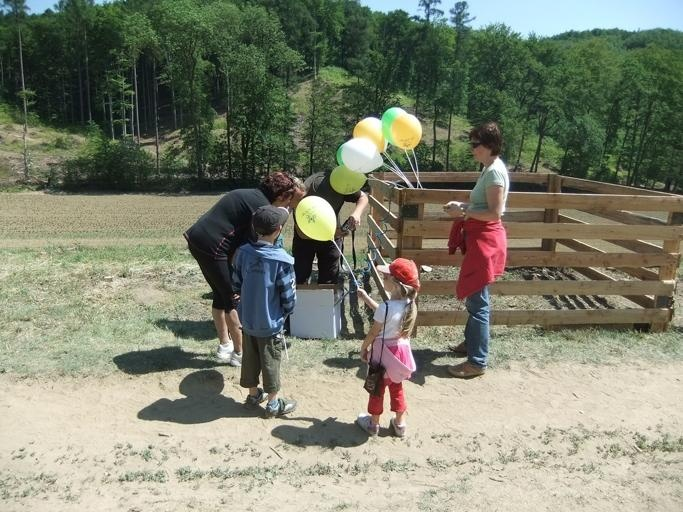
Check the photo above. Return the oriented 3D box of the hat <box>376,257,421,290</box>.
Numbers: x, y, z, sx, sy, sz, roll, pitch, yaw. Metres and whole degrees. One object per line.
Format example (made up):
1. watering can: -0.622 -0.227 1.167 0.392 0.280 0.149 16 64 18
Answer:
1. hat: 0.744 0.173 7.398 0.539 0.233 0.340 17 16 6

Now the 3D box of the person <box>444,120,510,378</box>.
1. person: 1.694 -0.051 8.152 0.644 3.203 0.371 6 9 28

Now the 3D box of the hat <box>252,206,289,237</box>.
1. hat: -0.843 -0.416 7.599 0.362 0.349 0.439 2 7 4

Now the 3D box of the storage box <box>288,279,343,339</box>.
1. storage box: -0.631 0.833 9.825 1.174 0.887 1.127 2 -5 -16

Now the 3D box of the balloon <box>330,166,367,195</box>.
1. balloon: 0.172 -1.098 9.530 0.589 0.324 0.373 5 15 3

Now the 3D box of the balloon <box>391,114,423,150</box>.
1. balloon: 0.963 -1.838 9.569 0.424 0.515 0.398 2 7 3

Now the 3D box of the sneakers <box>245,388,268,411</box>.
1. sneakers: -1.002 1.698 7.776 0.168 0.137 0.358 7 17 25

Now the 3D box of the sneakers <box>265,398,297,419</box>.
1. sneakers: -0.715 1.772 7.663 0.399 0.140 0.175 -8 15 -32

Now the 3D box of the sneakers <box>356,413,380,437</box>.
1. sneakers: 0.302 1.929 7.500 0.181 0.116 0.309 -23 39 -32

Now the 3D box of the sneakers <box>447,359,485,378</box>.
1. sneakers: 1.603 1.437 8.299 0.428 0.136 0.218 2 9 15

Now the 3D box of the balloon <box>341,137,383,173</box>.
1. balloon: 0.216 -1.422 9.251 0.658 0.372 0.436 11 0 -23

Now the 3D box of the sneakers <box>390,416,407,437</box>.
1. sneakers: 0.669 1.970 7.461 0.140 0.095 0.260 0 9 -4

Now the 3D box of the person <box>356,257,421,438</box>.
1. person: 0.535 1.047 7.401 0.628 2.020 0.271 2 8 1

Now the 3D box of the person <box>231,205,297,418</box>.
1. person: -0.889 0.644 7.620 0.760 2.464 0.421 1 8 -5
